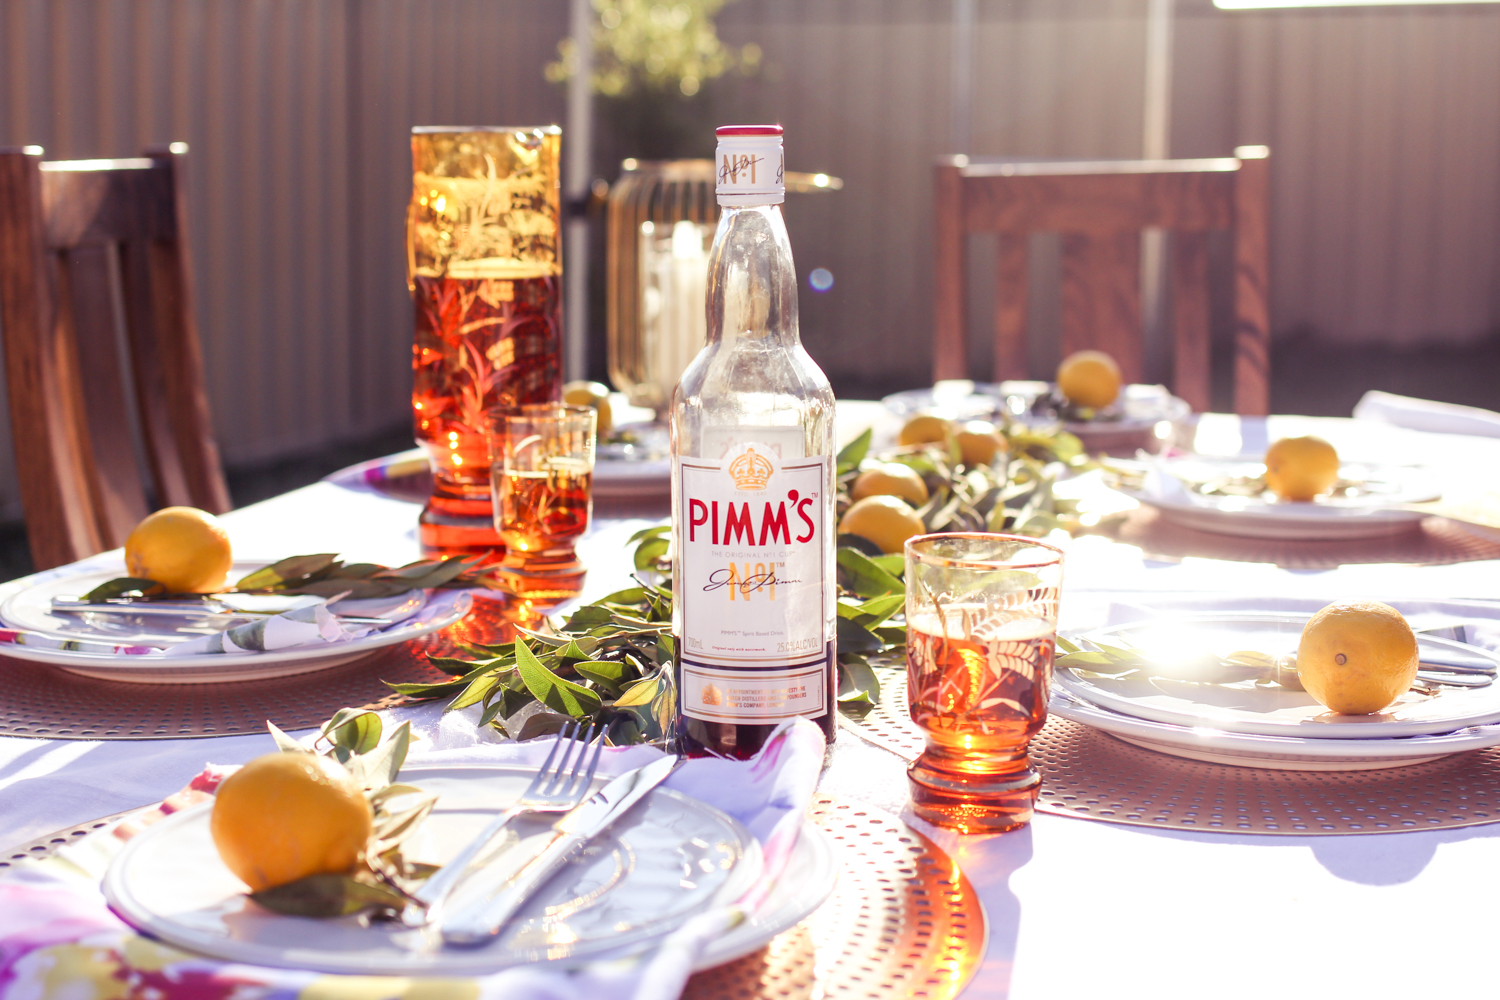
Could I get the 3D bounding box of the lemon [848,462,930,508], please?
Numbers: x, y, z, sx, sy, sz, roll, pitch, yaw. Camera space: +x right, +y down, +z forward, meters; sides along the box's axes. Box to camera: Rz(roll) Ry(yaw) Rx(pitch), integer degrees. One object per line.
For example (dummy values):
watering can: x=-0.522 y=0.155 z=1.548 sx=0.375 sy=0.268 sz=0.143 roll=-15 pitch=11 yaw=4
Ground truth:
lemon: x=0.125 y=-0.016 z=1.206 sx=0.048 sy=0.043 sz=0.045 roll=-1 pitch=2 yaw=5

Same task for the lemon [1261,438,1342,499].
lemon: x=0.517 y=-0.022 z=1.316 sx=0.060 sy=0.060 sz=0.056 roll=-24 pitch=47 yaw=29

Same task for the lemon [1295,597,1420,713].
lemon: x=0.348 y=0.088 z=0.804 sx=0.072 sy=0.069 sz=0.073 roll=1 pitch=1 yaw=-5

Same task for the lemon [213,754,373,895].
lemon: x=-0.196 y=0.137 z=0.585 sx=0.056 sy=0.054 sz=0.064 roll=11 pitch=42 yaw=1

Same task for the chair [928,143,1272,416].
chair: x=0.587 y=-0.380 z=2.361 sx=0.528 sy=0.425 sz=0.522 roll=0 pitch=16 yaw=9

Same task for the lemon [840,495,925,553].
lemon: x=0.105 y=0.018 z=1.093 sx=0.052 sy=0.057 sz=0.049 roll=1 pitch=3 yaw=3

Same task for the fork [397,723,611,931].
fork: x=-0.099 y=0.140 z=0.663 sx=0.025 sy=0.027 sz=0.185 roll=-10 pitch=21 yaw=29

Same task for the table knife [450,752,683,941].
table knife: x=-0.081 y=0.141 z=0.623 sx=0.029 sy=0.011 sz=0.162 roll=4 pitch=19 yaw=24

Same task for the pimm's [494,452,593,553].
pimm's: x=-0.160 y=0.002 z=1.134 sx=0.078 sy=0.079 sz=0.078 roll=1 pitch=7 yaw=0

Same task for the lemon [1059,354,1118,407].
lemon: x=0.419 y=-0.142 z=1.735 sx=0.082 sy=0.076 sz=0.073 roll=1 pitch=2 yaw=4

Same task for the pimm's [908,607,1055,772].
pimm's: x=0.118 y=0.100 z=0.768 sx=0.090 sy=0.091 sz=0.086 roll=1 pitch=3 yaw=-1
